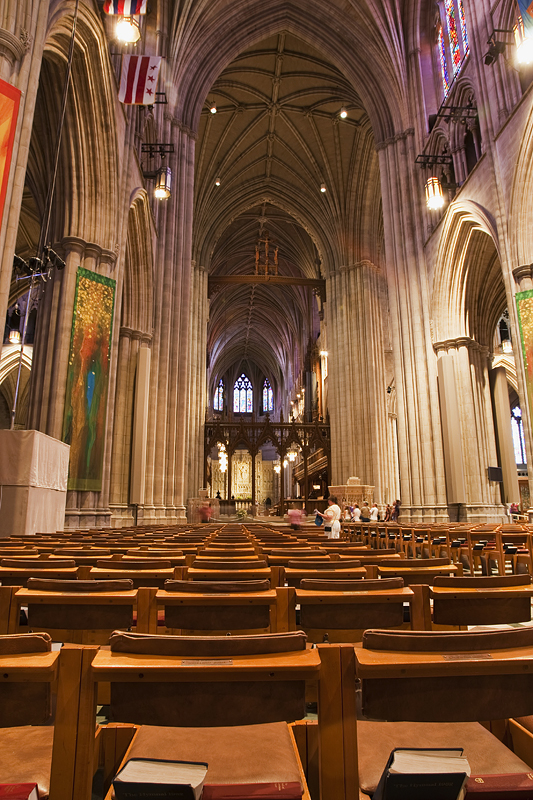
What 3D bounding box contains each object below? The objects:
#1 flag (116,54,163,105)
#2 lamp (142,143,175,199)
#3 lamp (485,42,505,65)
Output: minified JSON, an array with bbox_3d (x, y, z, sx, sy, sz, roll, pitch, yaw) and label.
[{"bbox_3d":[-2.962,-7.363,12.119,0.896,1.299,0.039,4,-10,1],"label":"flag"},{"bbox_3d":[-2.901,-6.404,14.719,0.628,1.459,0.643,0,1,-13],"label":"lamp"},{"bbox_3d":[5.414,-8.364,12.629,0.274,0.137,0.496,19,-14,8],"label":"lamp"}]
